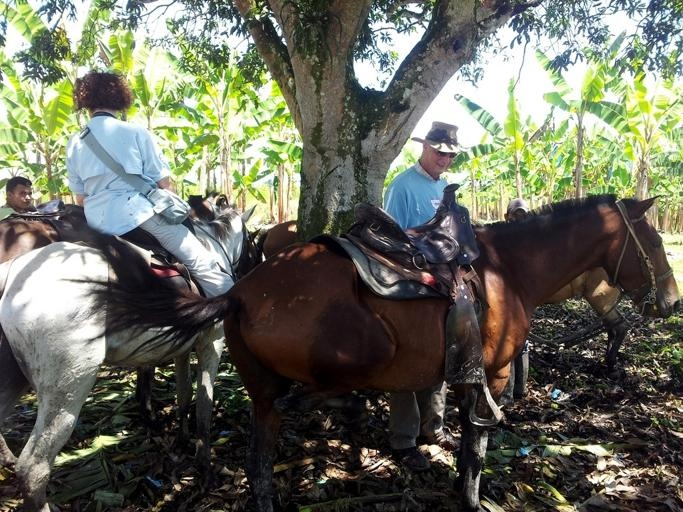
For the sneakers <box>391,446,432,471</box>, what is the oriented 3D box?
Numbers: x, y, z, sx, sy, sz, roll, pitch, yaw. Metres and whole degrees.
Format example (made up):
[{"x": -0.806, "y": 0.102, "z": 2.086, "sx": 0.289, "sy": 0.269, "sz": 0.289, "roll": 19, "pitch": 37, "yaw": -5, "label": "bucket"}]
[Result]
[{"x": 0.633, "y": 1.814, "z": 4.656, "sx": 0.320, "sy": 0.157, "sz": 0.155, "roll": 4, "pitch": 11, "yaw": 36, "label": "sneakers"}]

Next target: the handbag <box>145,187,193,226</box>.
[{"x": -1.498, "y": -0.426, "z": 4.481, "sx": 0.133, "sy": 0.273, "sz": 0.322, "roll": -36, "pitch": -7, "yaw": 7, "label": "handbag"}]

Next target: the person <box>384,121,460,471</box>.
[{"x": 0.945, "y": 0.062, "z": 5.385, "sx": 0.738, "sy": 2.633, "sz": 0.890, "roll": -5, "pitch": -5, "yaw": 14, "label": "person"}]
